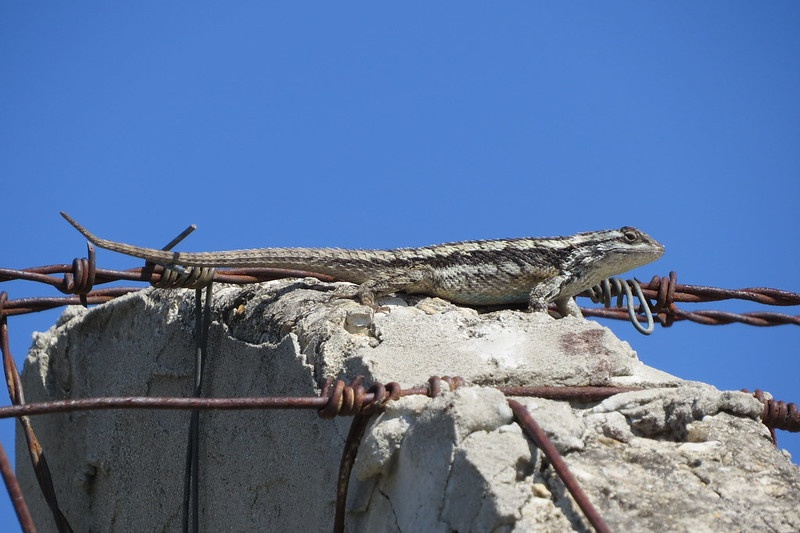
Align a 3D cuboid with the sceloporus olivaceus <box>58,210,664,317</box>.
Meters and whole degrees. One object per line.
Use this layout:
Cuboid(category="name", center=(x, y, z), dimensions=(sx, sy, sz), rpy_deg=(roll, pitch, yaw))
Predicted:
Cuboid(category="sceloporus olivaceus", center=(-0.043, -0.014, 14.309), dimensions=(5.381, 0.876, 1.470), rpy_deg=(3, 4, 13))
